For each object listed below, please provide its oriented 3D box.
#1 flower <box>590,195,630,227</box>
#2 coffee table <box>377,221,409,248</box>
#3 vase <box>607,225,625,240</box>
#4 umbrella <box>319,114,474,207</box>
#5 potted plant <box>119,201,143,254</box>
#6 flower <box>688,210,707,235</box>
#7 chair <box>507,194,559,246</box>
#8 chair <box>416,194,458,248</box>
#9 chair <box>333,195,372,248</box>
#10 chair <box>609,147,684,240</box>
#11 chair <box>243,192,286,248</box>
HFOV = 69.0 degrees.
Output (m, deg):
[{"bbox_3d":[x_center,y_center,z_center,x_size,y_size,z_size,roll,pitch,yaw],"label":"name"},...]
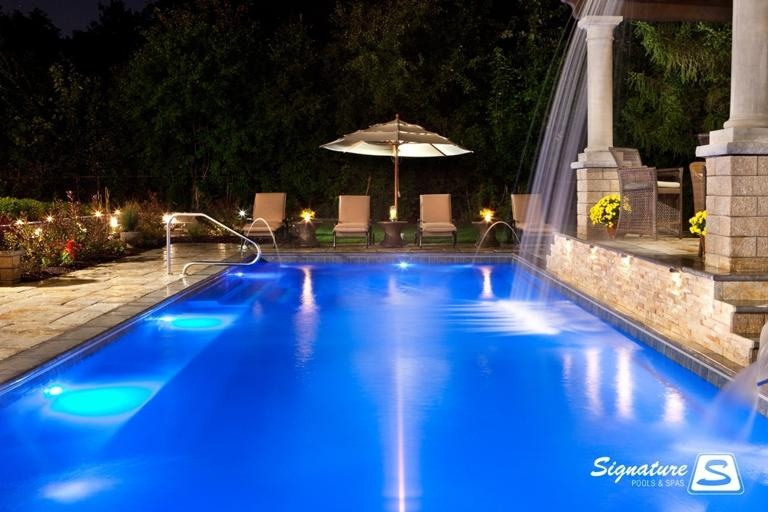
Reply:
[{"bbox_3d":[3.639,-0.749,9.109,0.492,0.543,0.534,-4,6,-1],"label":"flower"},{"bbox_3d":[0.167,-0.505,12.589,0.546,0.550,0.300,1,10,7],"label":"coffee table"},{"bbox_3d":[3.736,-0.375,9.026,0.213,0.220,0.193,-5,13,-37],"label":"vase"},{"bbox_3d":[0.612,-2.334,14.155,2.665,2.203,3.747,3,11,18],"label":"umbrella"},{"bbox_3d":[-5.664,-0.660,12.449,0.442,0.900,1.192,-4,11,-23],"label":"potted plant"},{"bbox_3d":[3.704,-0.355,6.598,0.152,0.341,0.709,6,12,30],"label":"flower"},{"bbox_3d":[3.243,-0.711,12.523,0.826,1.383,1.371,3,4,7],"label":"chair"},{"bbox_3d":[1.188,-0.818,12.753,0.824,1.202,1.183,0,6,3],"label":"chair"},{"bbox_3d":[-0.703,-0.792,12.761,0.804,1.085,1.248,0,10,0],"label":"chair"},{"bbox_3d":[4.243,-1.043,8.989,1.095,1.394,1.078,3,8,33],"label":"chair"},{"bbox_3d":[-2.740,-0.868,12.826,0.853,1.026,1.450,-1,11,-1],"label":"chair"}]
